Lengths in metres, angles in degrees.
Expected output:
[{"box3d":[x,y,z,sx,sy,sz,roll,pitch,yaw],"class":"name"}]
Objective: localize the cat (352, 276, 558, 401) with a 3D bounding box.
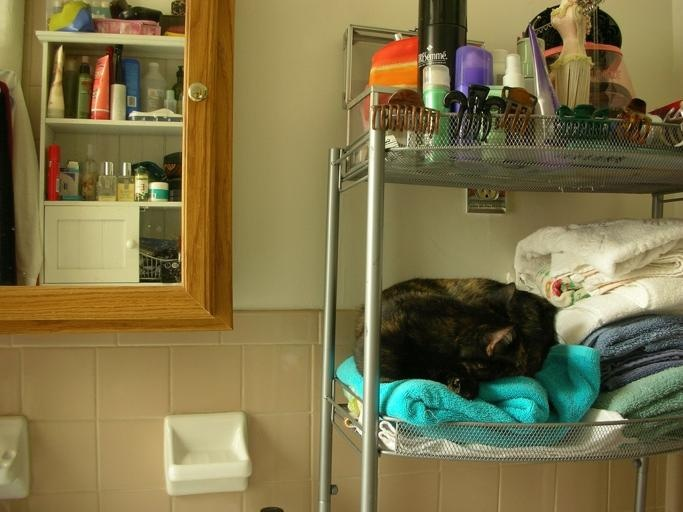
[{"box3d":[0.209,0.128,1.189,0.202,0.107,0.263,-13,1,-38],"class":"cat"}]
